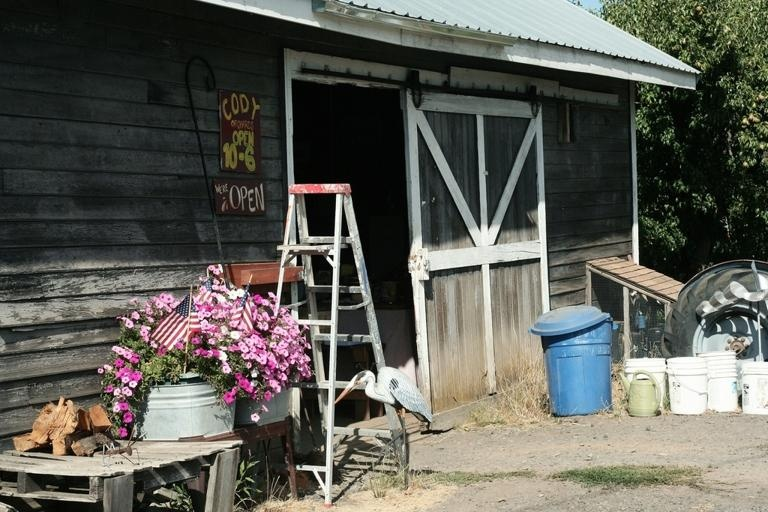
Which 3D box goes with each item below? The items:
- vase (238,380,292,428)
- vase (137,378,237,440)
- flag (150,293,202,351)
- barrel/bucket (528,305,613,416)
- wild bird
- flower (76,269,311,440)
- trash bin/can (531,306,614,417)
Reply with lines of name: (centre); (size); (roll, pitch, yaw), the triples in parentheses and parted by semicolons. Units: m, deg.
vase: (-1.022, 1.273, 6.941); (0.378, 0.168, 0.272); (-2, 2, -14)
vase: (-1.569, 1.220, 6.518); (0.703, 0.446, 0.174); (-5, 7, -18)
flag: (-1.636, 0.496, 6.519); (0.384, 0.511, 0.063); (12, 6, 6)
barrel/bucket: (2.150, 1.144, 9.040); (0.982, 1.345, 0.740); (0, -2, -34)
wild bird: (-0.041, 1.482, 7.491); (0.611, 1.122, 1.077); (11, 14, 39)
flower: (-1.458, 0.808, 6.672); (1.288, 1.033, 1.347); (-6, -6, 30)
trash bin/can: (2.123, 1.122, 9.375); (1.087, 1.429, 1.063); (-8, 2, 1)
